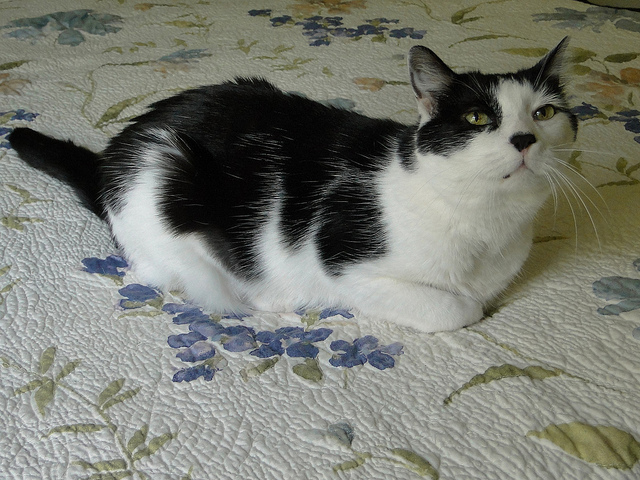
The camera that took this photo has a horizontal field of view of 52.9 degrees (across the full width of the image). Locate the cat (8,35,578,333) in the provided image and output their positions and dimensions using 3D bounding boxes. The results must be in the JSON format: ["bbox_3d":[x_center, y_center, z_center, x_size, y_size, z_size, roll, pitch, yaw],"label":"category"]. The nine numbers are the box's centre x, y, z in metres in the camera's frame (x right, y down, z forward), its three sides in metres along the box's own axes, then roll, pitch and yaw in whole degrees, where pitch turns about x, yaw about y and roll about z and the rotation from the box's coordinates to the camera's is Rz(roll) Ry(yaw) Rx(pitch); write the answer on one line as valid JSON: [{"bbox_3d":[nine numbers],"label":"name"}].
[{"bbox_3d":[-0.073,-0.133,1.274,1.025,0.477,0.561,8,41,13],"label":"cat"}]
